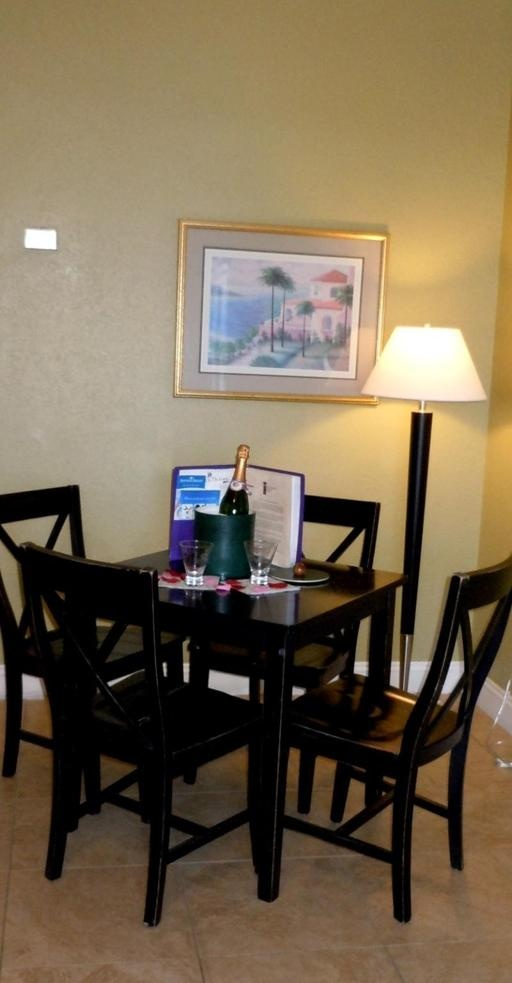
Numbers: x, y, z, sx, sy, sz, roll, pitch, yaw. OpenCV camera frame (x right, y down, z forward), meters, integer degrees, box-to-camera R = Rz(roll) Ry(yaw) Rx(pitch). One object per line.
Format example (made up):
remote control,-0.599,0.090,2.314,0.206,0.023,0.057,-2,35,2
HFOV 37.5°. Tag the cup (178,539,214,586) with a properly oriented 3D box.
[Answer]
cup,-0.141,0.162,1.759,0.086,0.119,0.087,1,1,0

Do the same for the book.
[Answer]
book,-0.043,0.024,1.974,0.320,0.273,0.256,1,0,9

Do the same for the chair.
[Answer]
chair,-0.080,0.476,1.653,0.859,0.625,0.890,4,7,33

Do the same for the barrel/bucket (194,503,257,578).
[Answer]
barrel/bucket,-0.077,0.127,1.952,0.136,0.180,0.152,3,12,-1

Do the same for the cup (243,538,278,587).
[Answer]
cup,0.018,0.167,1.823,0.072,0.104,0.094,5,15,15

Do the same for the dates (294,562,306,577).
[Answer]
dates,0.114,0.199,1.924,0.026,0.030,0.029,-15,-5,4
